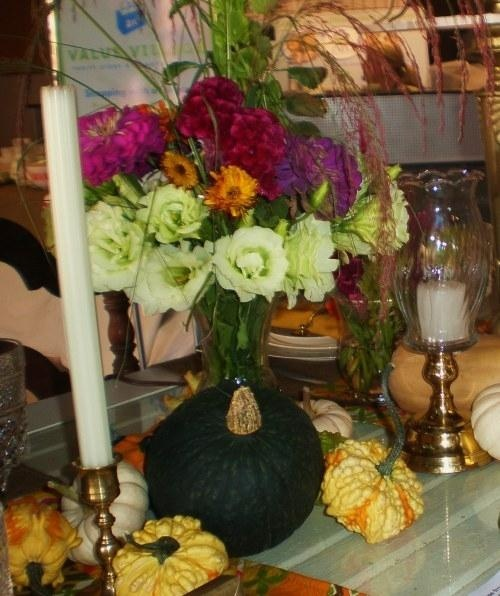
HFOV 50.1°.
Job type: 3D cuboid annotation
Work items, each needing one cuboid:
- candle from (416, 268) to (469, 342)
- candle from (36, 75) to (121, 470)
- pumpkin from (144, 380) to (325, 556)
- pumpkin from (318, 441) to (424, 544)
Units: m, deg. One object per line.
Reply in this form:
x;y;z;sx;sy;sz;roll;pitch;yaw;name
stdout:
0.233;0.013;0.687;0.082;0.078;0.078;-6;9;25;candle
-0.088;-0.005;0.273;0.026;0.191;0.040;-9;13;-17;candle
-0.007;0.150;0.544;0.191;0.142;0.167;-1;13;-2;pumpkin
0.114;0.205;0.562;0.100;0.087;0.042;-24;-19;-22;pumpkin
